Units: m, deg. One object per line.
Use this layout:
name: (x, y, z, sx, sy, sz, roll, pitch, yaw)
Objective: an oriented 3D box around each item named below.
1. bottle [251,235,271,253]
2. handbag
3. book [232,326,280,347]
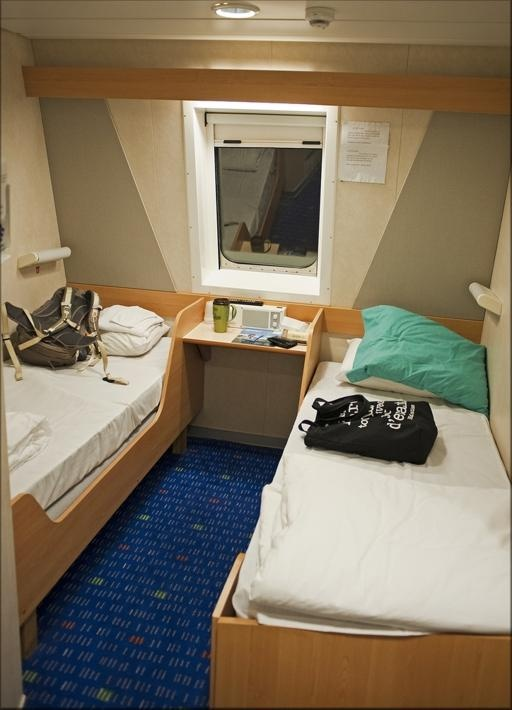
bottle: (0.037, -0.704, 3.262, 0.125, 0.125, 0.077, 6, 38, 7)
handbag: (0.443, 0.287, 2.024, 0.355, 0.112, 0.281, 3, 29, 17)
book: (-0.012, -0.110, 2.960, 0.138, 0.037, 0.156, 2, 32, 2)
